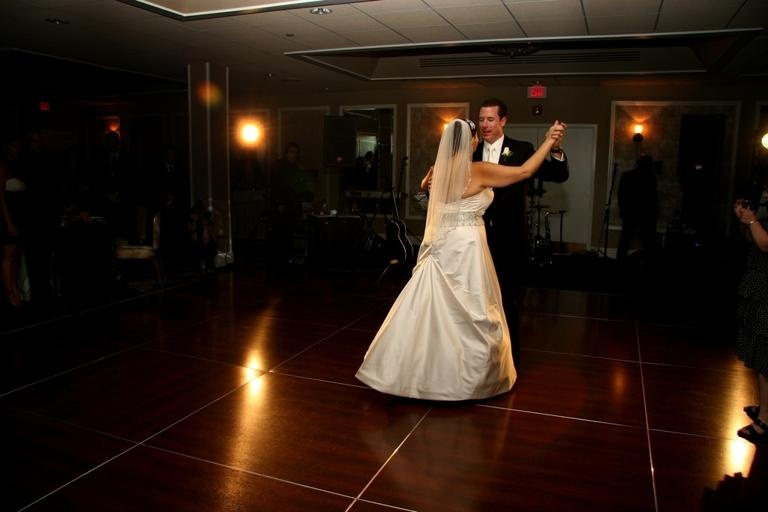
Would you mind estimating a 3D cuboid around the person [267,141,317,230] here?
[{"bbox_3d":[-1.690,-1.309,9.656,0.683,1.472,1.128,0,13,-3],"label":"person"}]

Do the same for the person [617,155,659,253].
[{"bbox_3d":[4.802,-0.928,10.059,0.735,1.906,0.441,6,14,23],"label":"person"}]

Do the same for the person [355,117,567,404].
[{"bbox_3d":[0.574,0.056,4.598,1.386,2.414,0.672,0,13,-2],"label":"person"}]
